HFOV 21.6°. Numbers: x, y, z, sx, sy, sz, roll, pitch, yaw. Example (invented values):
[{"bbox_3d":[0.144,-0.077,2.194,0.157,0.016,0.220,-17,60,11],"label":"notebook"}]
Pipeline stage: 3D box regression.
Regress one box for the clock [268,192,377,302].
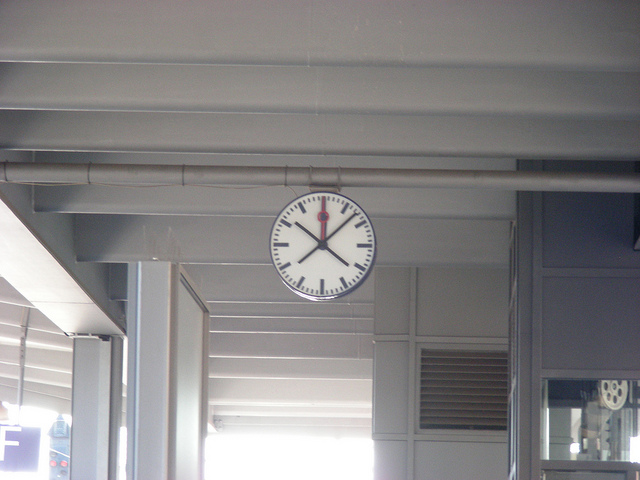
[{"bbox_3d":[0.009,0.071,15.948,0.962,1.072,1.054,2,-17,2],"label":"clock"}]
